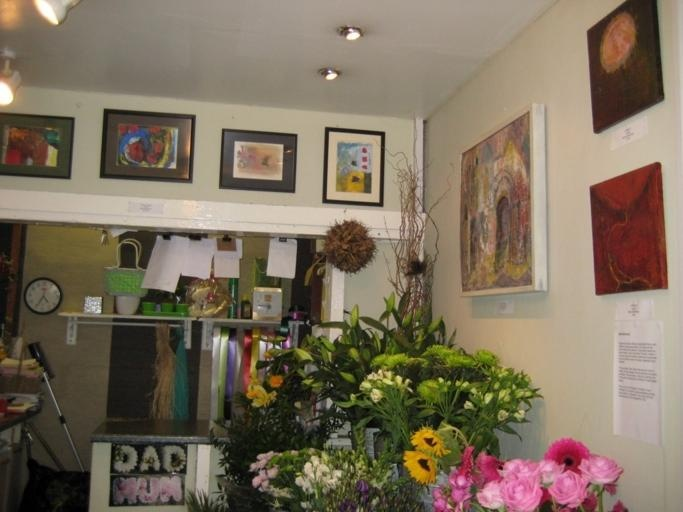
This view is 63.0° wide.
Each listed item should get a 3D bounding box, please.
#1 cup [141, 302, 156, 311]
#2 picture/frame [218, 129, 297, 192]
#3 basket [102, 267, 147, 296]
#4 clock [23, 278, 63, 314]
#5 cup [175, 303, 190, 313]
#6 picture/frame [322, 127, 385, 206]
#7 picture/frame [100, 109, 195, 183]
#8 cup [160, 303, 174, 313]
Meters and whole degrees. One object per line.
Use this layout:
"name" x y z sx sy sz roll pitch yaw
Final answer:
"cup" -1.783 0.486 5.169 0.102 0.089 0.103 -1 -7 0
"picture/frame" -0.552 -0.590 3.521 0.357 0.330 0.014 0 -3 -6
"basket" -1.915 0.230 4.933 0.349 0.252 0.245 5 -7 -19
"clock" -2.974 0.408 5.513 0.310 0.355 0.044 1 -9 -6
"cup" -1.462 0.499 5.181 0.097 0.093 0.163 -3 -9 41
"picture/frame" 0.061 -0.557 3.596 0.447 0.593 0.024 -1 -3 -6
"picture/frame" -1.227 -0.667 3.450 0.407 0.387 0.044 0 -3 -6
"cup" -1.615 0.481 5.138 0.086 0.073 0.083 0 -9 0
